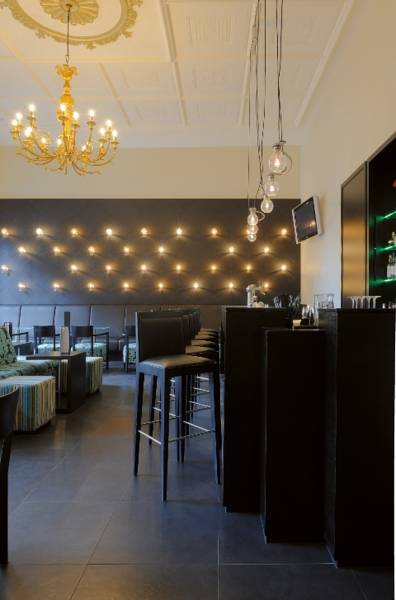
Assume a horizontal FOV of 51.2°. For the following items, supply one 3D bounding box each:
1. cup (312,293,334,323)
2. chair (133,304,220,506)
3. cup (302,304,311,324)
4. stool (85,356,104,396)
[{"bbox_3d":[0.607,0.044,2.006,0.102,0.181,0.107,3,-10,0],"label":"cup"},{"bbox_3d":[-0.127,0.576,2.776,0.569,1.013,1.446,0,-2,-5],"label":"chair"},{"bbox_3d":[0.580,0.081,2.226,0.040,0.101,0.160,0,-2,16],"label":"cup"},{"bbox_3d":[-1.233,0.894,4.866,0.128,0.417,0.434,0,-2,-5],"label":"stool"}]
